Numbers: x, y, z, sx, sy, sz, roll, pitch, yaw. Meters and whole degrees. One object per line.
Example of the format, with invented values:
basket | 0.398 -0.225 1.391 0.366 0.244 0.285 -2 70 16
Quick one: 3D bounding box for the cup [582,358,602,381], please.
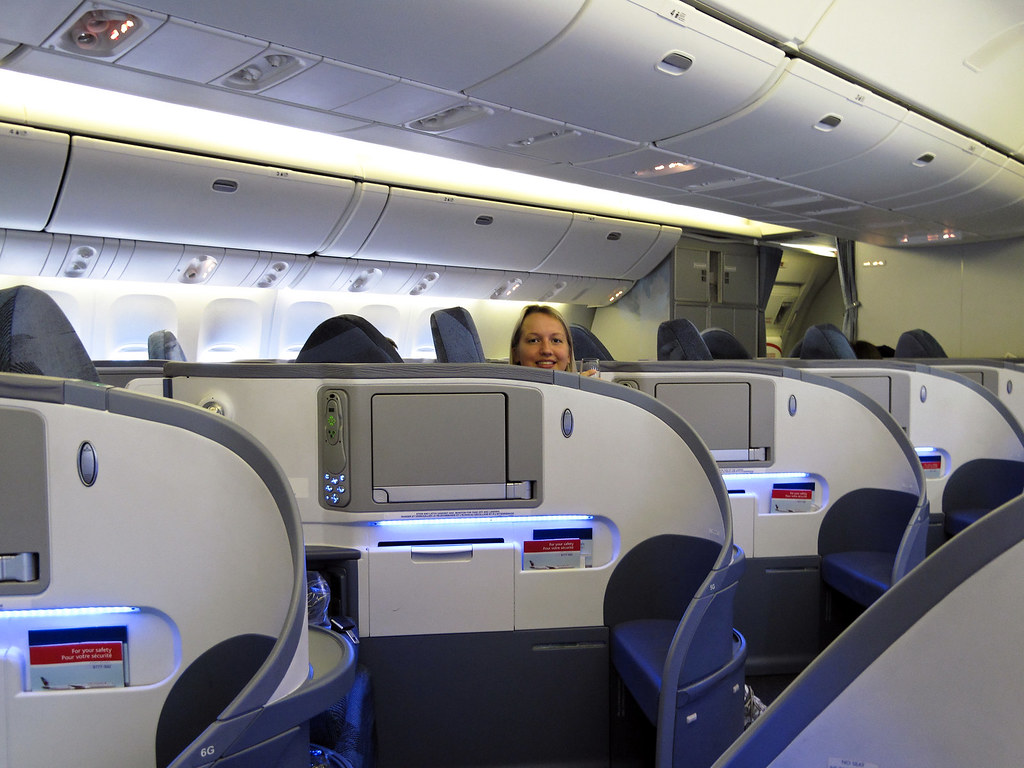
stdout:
cup | 0.389 -0.066 3.681 0.114 0.136 0.092 0 2 20
